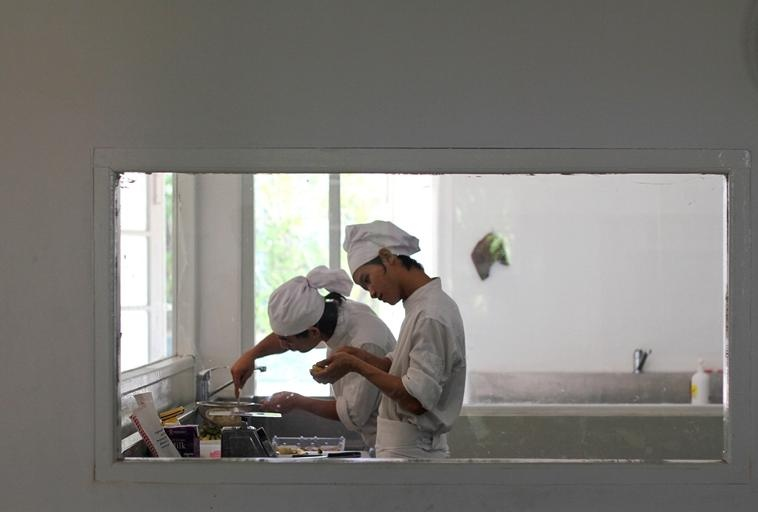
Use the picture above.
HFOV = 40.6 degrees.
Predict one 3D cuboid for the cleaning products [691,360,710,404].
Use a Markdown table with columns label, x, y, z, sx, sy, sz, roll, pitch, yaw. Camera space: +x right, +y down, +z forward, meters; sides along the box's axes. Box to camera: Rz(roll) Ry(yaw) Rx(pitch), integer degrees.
| label | x | y | z | sx | sy | sz | roll | pitch | yaw |
| --- | --- | --- | --- | --- | --- | --- | --- | --- | --- |
| cleaning products | 1.081 | 0.426 | 3.428 | 0.053 | 0.142 | 0.243 | -2 | -3 | 12 |

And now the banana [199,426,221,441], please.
| label | x | y | z | sx | sy | sz | roll | pitch | yaw |
| --- | --- | --- | --- | --- | --- | --- | --- | --- | --- |
| banana | -0.558 | 0.584 | 3.395 | 0.047 | 0.015 | 0.047 | 2 | 26 | -7 |

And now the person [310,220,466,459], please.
| label | x | y | z | sx | sy | sz | roll | pitch | yaw |
| --- | --- | --- | --- | --- | --- | --- | --- | --- | --- |
| person | 0.108 | 0.358 | 3.633 | 0.580 | 1.135 | 0.696 | 0 | -12 | 6 |

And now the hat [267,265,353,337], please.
| label | x | y | z | sx | sy | sz | roll | pitch | yaw |
| --- | --- | --- | --- | --- | --- | --- | --- | --- | --- |
| hat | -0.237 | 0.125 | 3.369 | 0.295 | 0.163 | 0.162 | -24 | 41 | -24 |

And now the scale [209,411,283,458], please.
| label | x | y | z | sx | sy | sz | roll | pitch | yaw |
| --- | --- | --- | --- | --- | --- | --- | --- | --- | --- |
| scale | -0.406 | 0.544 | 3.110 | 0.208 | 0.153 | 0.217 | 1 | -15 | -7 |

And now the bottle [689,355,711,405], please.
| label | x | y | z | sx | sy | sz | roll | pitch | yaw |
| --- | --- | --- | --- | --- | --- | --- | --- | --- | --- |
| bottle | 1.093 | 0.433 | 3.533 | 0.069 | 0.161 | 0.068 | 18 | -11 | 4 |
